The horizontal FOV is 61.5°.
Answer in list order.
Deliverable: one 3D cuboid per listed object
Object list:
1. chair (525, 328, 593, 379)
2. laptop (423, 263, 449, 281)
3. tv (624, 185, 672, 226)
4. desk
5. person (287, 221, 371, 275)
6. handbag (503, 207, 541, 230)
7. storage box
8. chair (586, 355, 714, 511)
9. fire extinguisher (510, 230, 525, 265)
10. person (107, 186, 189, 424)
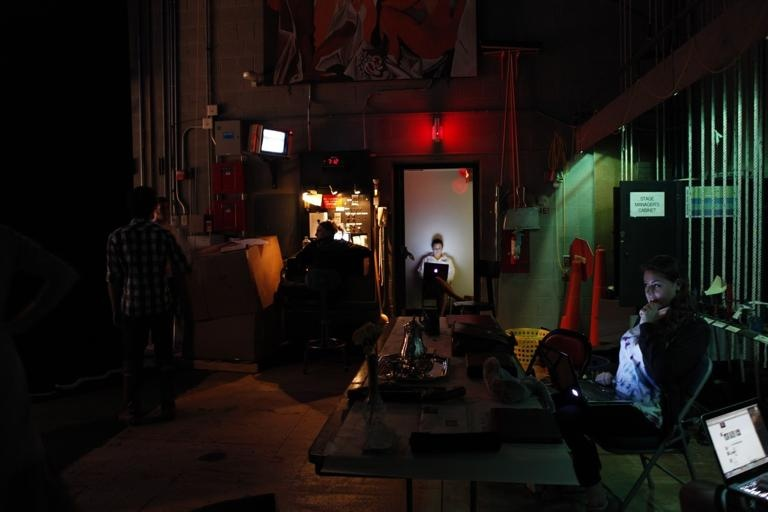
[{"bbox_3d":[1.564,0.804,5.639,0.382,0.514,0.508,19,1,6],"label":"chair"},{"bbox_3d":[0.771,0.180,9.535,0.329,0.233,0.245,1,2,3],"label":"laptop"},{"bbox_3d":[2.879,-0.558,7.003,0.407,0.318,0.058,-1,4,2],"label":"tv"},{"bbox_3d":[0.463,1.430,4.576,1.567,1.573,1.373,5,14,19],"label":"desk"},{"bbox_3d":[-0.674,-0.006,8.056,0.974,0.674,0.614,-3,-6,32],"label":"person"},{"bbox_3d":[1.761,-0.473,8.209,0.293,0.275,0.382,0,1,6],"label":"handbag"},{"bbox_3d":[-1.793,0.050,8.387,1.334,2.348,1.697,1,13,4],"label":"storage box"},{"bbox_3d":[2.146,1.418,5.137,0.997,1.289,0.608,-5,14,-21],"label":"chair"},{"bbox_3d":[1.768,-0.125,8.471,0.208,0.450,0.113,-8,15,-30],"label":"fire extinguisher"},{"bbox_3d":[-2.294,0.476,6.354,0.754,2.272,0.487,-4,14,-17],"label":"person"}]
